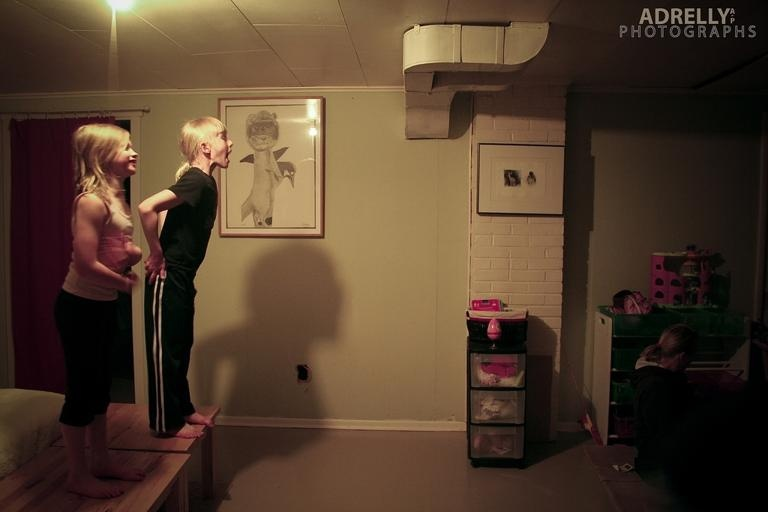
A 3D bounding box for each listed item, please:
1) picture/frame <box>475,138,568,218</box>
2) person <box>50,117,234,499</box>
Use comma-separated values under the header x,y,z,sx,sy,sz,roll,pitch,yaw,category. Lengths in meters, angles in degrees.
x,y,z,sx,sy,sz,roll,pitch,yaw,category
1.186,-0.696,5.659,0.614,0.543,0.049,1,-1,-1,picture/frame
-1.933,0.362,4.454,0.565,2.520,0.333,0,4,-16,person
